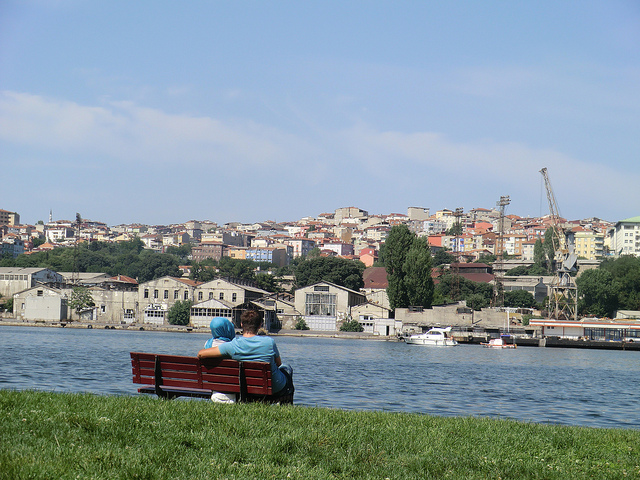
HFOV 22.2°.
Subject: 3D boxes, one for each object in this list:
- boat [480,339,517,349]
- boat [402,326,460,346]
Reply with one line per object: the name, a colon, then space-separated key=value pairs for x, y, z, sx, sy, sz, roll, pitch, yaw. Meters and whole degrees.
boat: x=27.447 y=16.574 z=248.146 sx=5.468 sy=1.411 sz=6.669 roll=0 pitch=-5 yaw=6
boat: x=16.972 y=15.546 z=247.156 sx=7.026 sy=2.540 sz=3.409 roll=1 pitch=-4 yaw=14
